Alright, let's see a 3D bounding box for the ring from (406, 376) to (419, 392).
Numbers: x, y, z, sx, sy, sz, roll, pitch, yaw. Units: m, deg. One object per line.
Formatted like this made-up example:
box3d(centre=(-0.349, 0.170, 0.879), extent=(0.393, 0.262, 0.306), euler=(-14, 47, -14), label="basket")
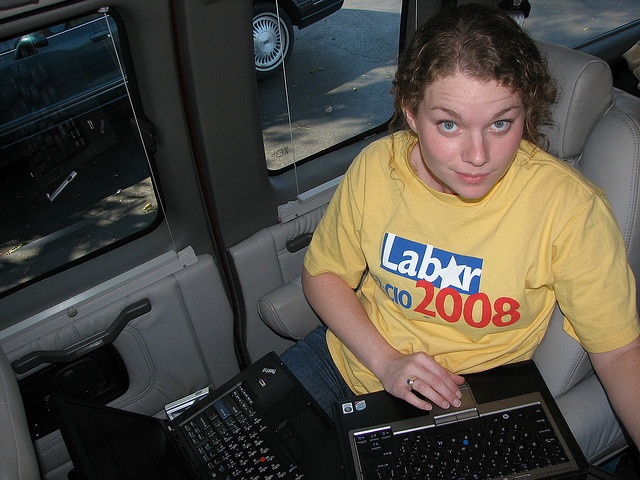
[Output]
box3d(centre=(0.278, 0.431, 1.404), extent=(0.016, 0.038, 0.029), euler=(12, -7, -3), label="ring")
